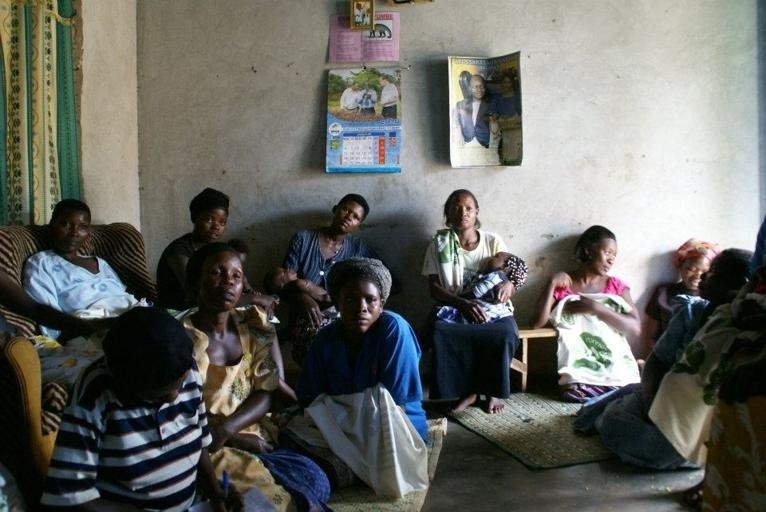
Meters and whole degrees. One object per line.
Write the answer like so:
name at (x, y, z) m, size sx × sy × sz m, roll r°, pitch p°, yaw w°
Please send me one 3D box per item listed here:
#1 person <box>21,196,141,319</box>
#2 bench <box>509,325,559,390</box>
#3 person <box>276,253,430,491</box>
person at (-1.934, 0.010, 4.469) m, size 0.477 × 0.735 × 0.579 m, roll 2°, pitch 8°, yaw 23°
bench at (1.047, 0.750, 5.242) m, size 0.443 × 0.425 × 0.442 m, roll 0°, pitch -1°, yaw -2°
person at (-0.165, 0.670, 3.929) m, size 0.965 × 1.168 × 0.900 m, roll -8°, pitch 15°, yaw -32°
